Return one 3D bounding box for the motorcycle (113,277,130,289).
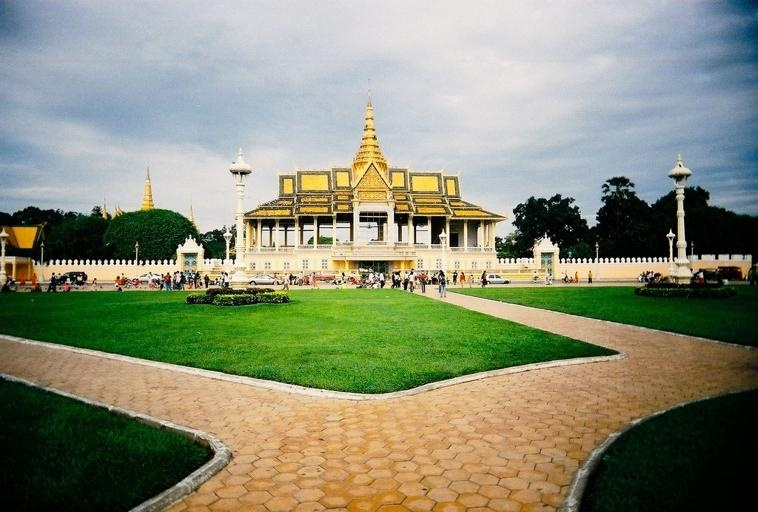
[{"bbox_3d":[-19.100,2.012,47.656,0.776,0.851,1.490,-5,-7,12],"label":"motorcycle"}]
